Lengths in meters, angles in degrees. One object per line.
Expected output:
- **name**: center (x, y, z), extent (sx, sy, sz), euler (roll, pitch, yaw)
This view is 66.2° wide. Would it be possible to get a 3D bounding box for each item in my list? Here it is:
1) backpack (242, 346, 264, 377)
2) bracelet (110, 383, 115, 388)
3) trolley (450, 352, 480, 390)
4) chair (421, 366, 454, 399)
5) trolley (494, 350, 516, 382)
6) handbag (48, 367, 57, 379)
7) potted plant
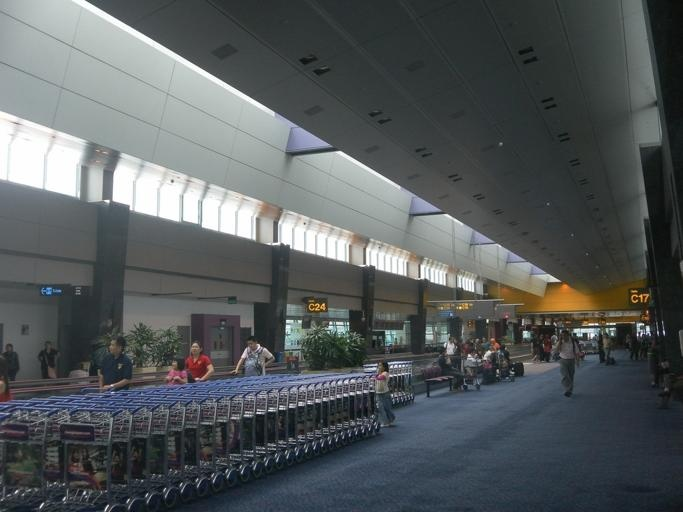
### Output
- **backpack**: center (-2.194, 2.577, 12.840), extent (0.573, 0.722, 0.389), euler (7, 2, -7)
- **bracelet**: center (-4.075, 2.298, 9.295), extent (0.048, 0.076, 0.079), euler (1, 1, 20)
- **trolley**: center (5.486, 5.063, 22.935), extent (1.169, 1.348, 4.192), euler (-7, -11, 13)
- **chair**: center (3.789, 4.880, 20.724), extent (1.120, 1.041, 3.795), euler (-7, -11, 10)
- **trolley**: center (7.919, 5.400, 25.354), extent (0.747, 1.262, 2.192), euler (-3, -21, 8)
- **handbag**: center (-10.357, 4.163, 18.695), extent (0.352, 0.383, 0.270), euler (-11, -13, 28)
- **potted plant**: center (-7.181, 3.390, 19.437), extent (1.713, 2.333, 2.297), euler (-6, -9, 36)
